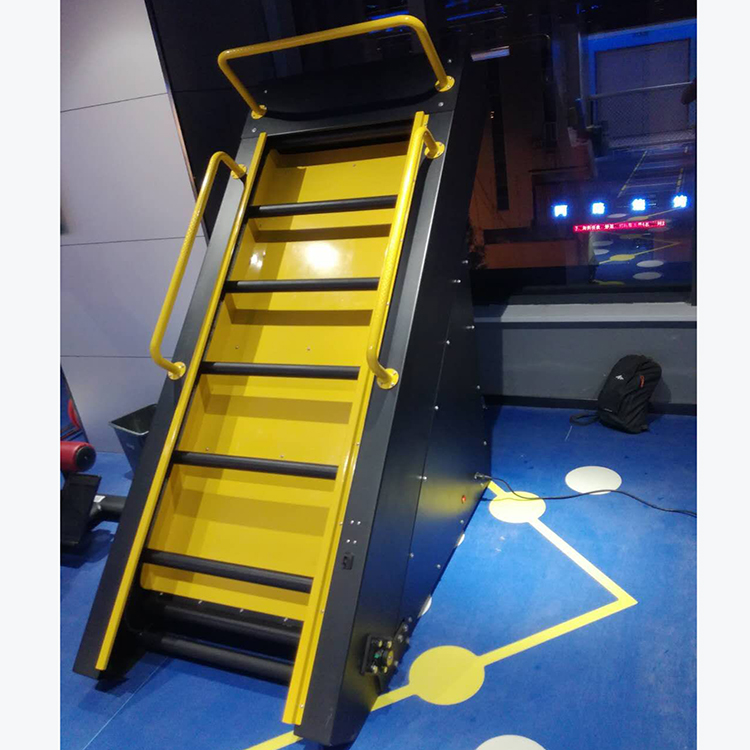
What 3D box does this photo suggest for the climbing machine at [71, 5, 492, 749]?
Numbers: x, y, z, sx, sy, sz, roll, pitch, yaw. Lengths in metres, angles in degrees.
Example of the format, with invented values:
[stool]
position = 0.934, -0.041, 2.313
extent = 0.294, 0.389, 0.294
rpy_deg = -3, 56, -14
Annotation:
[climbing machine]
position = -0.237, -0.166, 2.394
extent = 1.202, 2.692, 0.918
rpy_deg = 7, -14, 7
